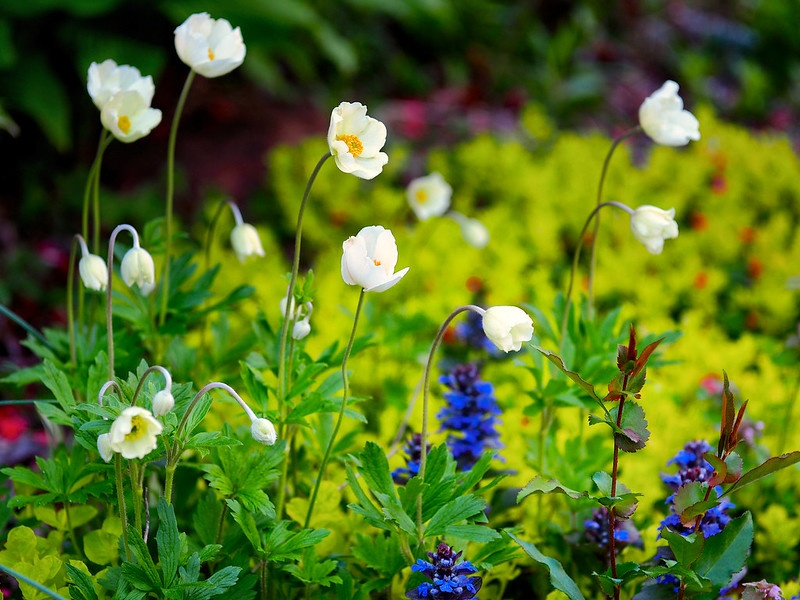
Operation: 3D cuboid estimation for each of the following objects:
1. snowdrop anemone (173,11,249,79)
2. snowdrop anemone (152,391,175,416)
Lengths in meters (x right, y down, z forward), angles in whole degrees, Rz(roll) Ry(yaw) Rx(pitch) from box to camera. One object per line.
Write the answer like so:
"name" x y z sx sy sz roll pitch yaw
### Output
"snowdrop anemone" -0.594 -0.750 2.705 0.211 0.141 0.233 24 25 -33
"snowdrop anemone" -0.616 0.273 2.327 0.059 0.073 0.046 18 7 40
